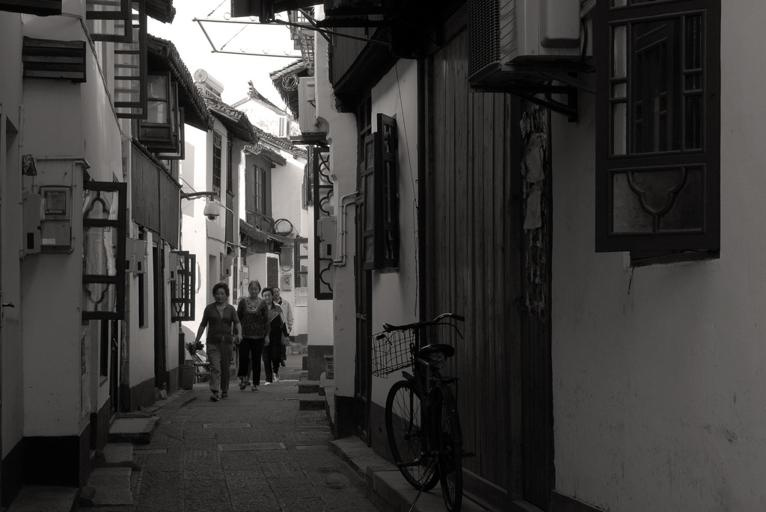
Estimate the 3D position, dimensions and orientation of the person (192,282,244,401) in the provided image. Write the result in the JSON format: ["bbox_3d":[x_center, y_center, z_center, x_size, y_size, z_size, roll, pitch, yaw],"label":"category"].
[{"bbox_3d":[-3.064,1.592,16.264,0.800,1.556,1.282,1,-1,-9],"label":"person"}]

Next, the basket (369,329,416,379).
[{"bbox_3d":[0.137,1.045,9.616,0.451,0.466,0.318,-7,-4,42],"label":"basket"}]
